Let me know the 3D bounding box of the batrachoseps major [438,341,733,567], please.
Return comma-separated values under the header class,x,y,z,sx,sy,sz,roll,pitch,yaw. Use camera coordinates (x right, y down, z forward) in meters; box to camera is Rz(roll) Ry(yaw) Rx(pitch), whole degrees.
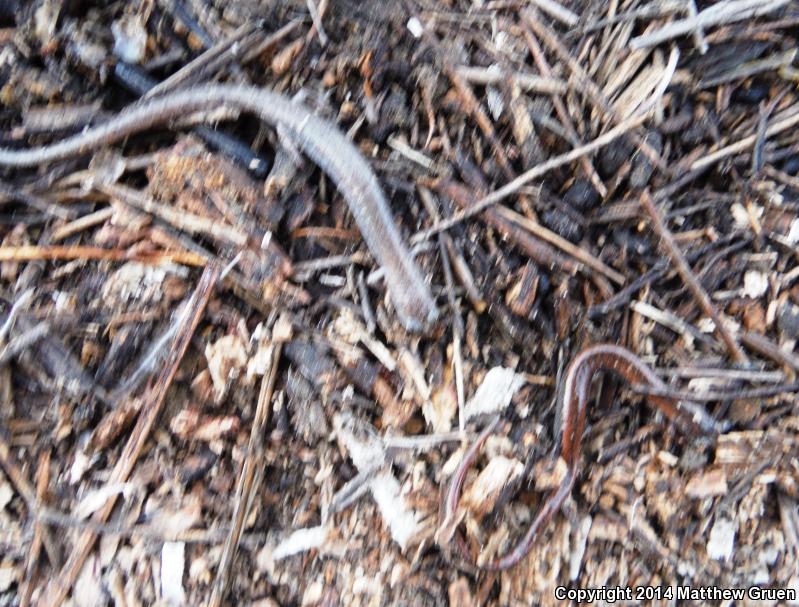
class,x,y,z,sx,sy,sz,roll,pitch,yaw
batrachoseps major,0.599,0.532,3.008,1.103,0.662,0.114,-46,-1,1
